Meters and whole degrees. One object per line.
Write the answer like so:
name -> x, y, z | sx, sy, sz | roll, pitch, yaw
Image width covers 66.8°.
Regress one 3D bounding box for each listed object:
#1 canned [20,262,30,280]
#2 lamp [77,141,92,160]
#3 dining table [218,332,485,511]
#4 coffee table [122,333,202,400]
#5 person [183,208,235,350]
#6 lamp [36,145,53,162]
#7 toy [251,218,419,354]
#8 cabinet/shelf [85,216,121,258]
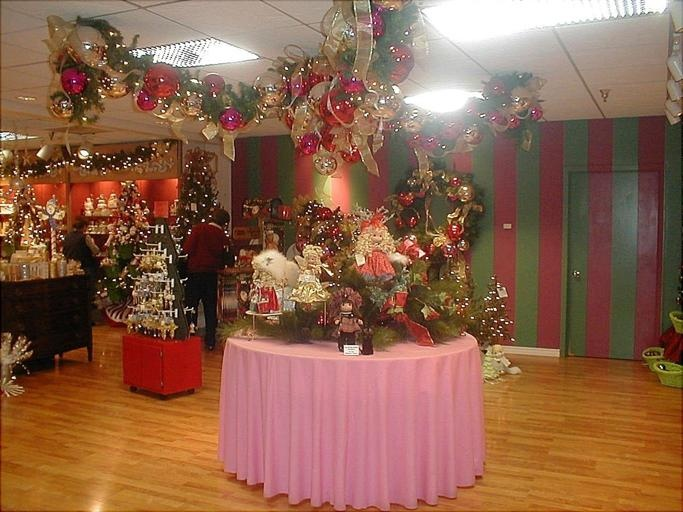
canned -> -3.940, 0.195, 6.456 | 0.067, 0.193, 0.114 | 4, 6, 39
lamp -> -4.643, -1.908, 9.363 | 0.288, 0.267, 0.303 | -8, 44, -12
dining table -> 0.261, 1.013, 3.660 | 1.305, 0.624, 1.278 | 6, -6, -43
coffee table -> -2.090, 1.250, 6.008 | 0.826, 0.611, 0.536 | 1, 2, 37
person -> -1.933, 0.373, 7.519 | 0.663, 2.086, 0.931 | -1, 5, -15
lamp -> -5.593, -1.944, 9.772 | 0.255, 0.289, 0.277 | 29, 7, -23
toy -> -0.099, 0.214, 4.092 | 1.164, 0.670, 0.623 | 6, -7, -15
cabinet/shelf -> -4.367, -0.314, 9.489 | 0.795, 0.715, 0.254 | 0, -11, 3
